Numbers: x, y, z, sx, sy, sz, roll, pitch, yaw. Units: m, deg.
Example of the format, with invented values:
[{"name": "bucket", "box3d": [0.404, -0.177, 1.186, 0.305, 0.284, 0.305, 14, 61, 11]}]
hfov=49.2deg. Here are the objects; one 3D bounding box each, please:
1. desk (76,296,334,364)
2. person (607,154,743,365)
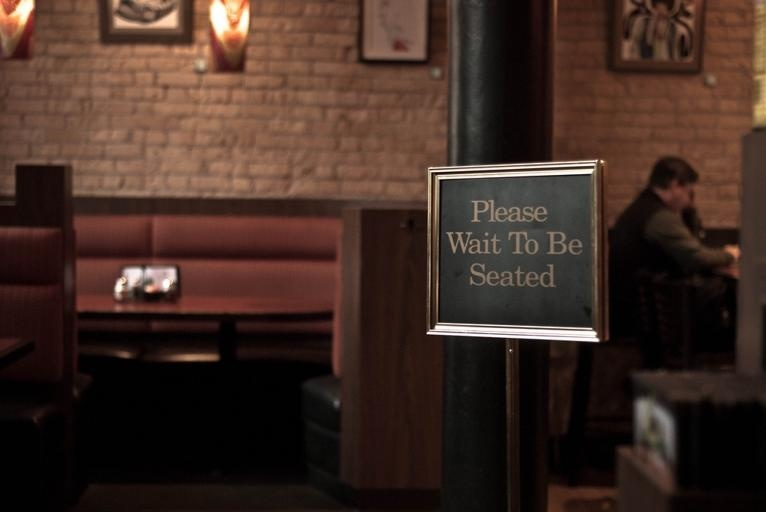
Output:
[{"name": "desk", "box3d": [-1.083, 0.445, 5.124, 1.543, 0.420, 0.763, -3, 10, -6]}, {"name": "person", "box3d": [1.775, 0.046, 5.142, 0.731, 1.255, 0.606, -6, 10, -24]}]
